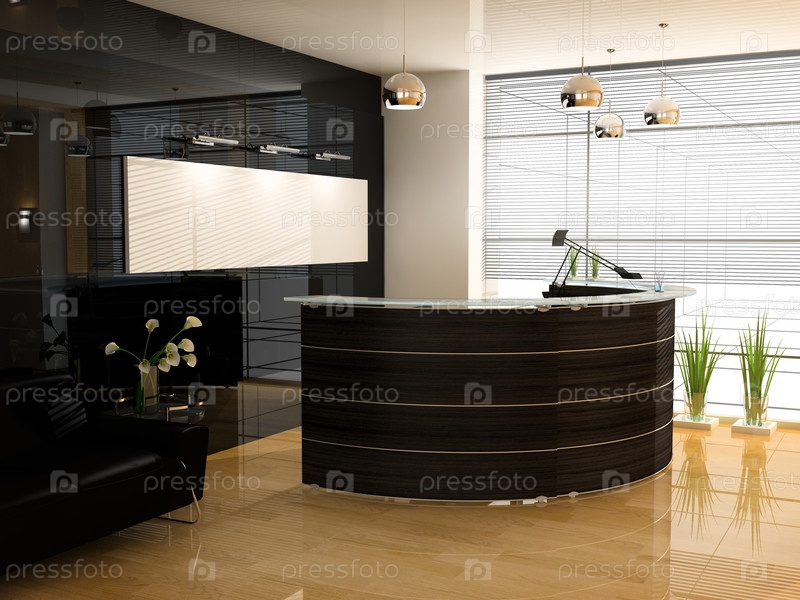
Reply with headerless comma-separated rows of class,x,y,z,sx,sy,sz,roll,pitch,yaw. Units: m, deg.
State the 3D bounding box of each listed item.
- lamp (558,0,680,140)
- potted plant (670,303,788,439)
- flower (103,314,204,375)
lamp,2.289,-2.378,6.737,1.442,1.607,0.404,0,0,-22
potted plant,3.383,0.776,6.716,1.373,1.433,0.642,0,-3,34
flower,-1.890,0.431,5.132,0.527,0.236,0.516,16,26,29
